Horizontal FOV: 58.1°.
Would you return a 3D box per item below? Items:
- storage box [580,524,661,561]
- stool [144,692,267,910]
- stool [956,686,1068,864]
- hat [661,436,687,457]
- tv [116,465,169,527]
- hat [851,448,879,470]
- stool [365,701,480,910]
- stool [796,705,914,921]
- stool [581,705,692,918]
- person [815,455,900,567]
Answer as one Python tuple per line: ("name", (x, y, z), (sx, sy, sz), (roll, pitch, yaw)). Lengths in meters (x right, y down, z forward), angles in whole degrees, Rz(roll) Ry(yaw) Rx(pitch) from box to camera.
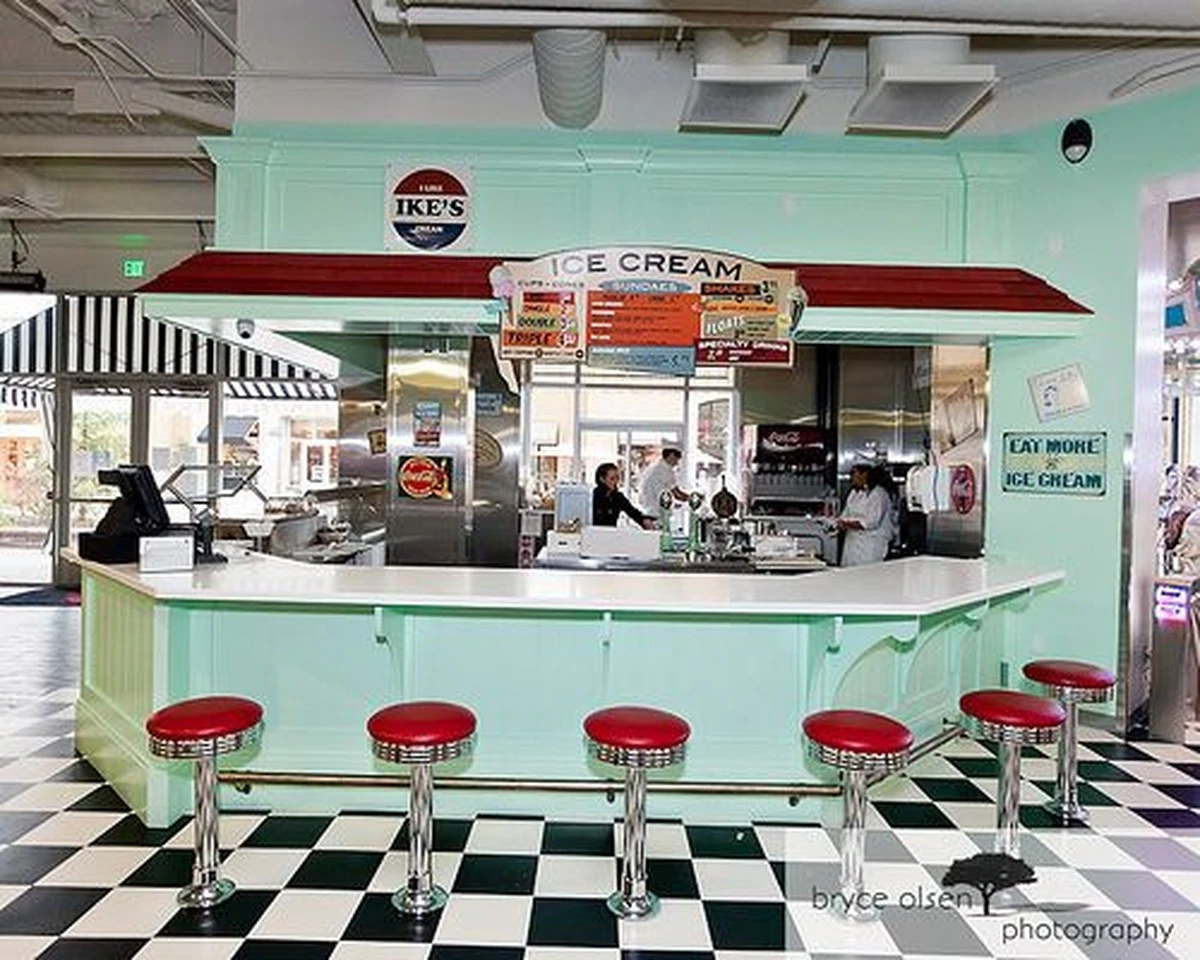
("storage box", (0.125, 0.421, 7.086), (0.392, 0.166, 0.255), (0, -1, -1))
("stool", (-1.900, 1.526, 5.259), (0.494, 0.938, 0.494), (-1, 3, -15))
("stool", (2.158, 1.509, 5.612), (0.474, 0.831, 0.553), (1, 3, 34))
("hat", (0.780, -0.360, 11.454), (0.327, 0.256, 0.257), (-2, 13, -12))
("tv", (-2.540, 0.105, 6.134), (0.365, 0.362, 0.227), (1, 3, 37))
("hat", (2.615, -0.218, 10.771), (0.289, 0.249, 0.350), (-1, 8, 8))
("stool", (-0.822, 1.549, 5.174), (0.454, 0.944, 0.435), (0, 3, 14))
("stool", (1.206, 1.580, 5.244), (0.470, 0.939, 0.555), (-1, 3, -4))
("stool", (0.153, 1.568, 5.177), (0.450, 0.933, 0.458), (-2, 3, -27))
("person", (2.201, 0.454, 9.221), (0.544, 1.233, 0.460), (-15, 22, -34))
